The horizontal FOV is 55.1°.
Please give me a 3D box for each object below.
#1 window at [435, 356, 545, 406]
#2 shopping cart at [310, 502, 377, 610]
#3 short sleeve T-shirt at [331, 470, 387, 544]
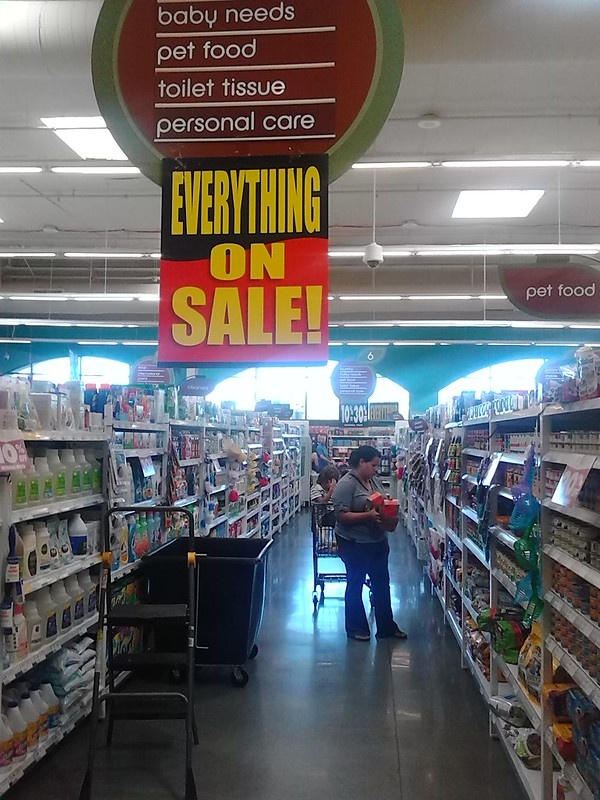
[{"bbox_3d":[6.528,-0.800,19.575,3.047,1.095,1.089,-3,2,-2],"label":"window"},{"bbox_3d":[0.549,1.702,6.897,0.551,1.449,1.233,0,10,0],"label":"shopping cart"},{"bbox_3d":[0.606,1.034,5.593,0.407,0.833,0.722,-5,-8,26],"label":"short sleeve T-shirt"}]
